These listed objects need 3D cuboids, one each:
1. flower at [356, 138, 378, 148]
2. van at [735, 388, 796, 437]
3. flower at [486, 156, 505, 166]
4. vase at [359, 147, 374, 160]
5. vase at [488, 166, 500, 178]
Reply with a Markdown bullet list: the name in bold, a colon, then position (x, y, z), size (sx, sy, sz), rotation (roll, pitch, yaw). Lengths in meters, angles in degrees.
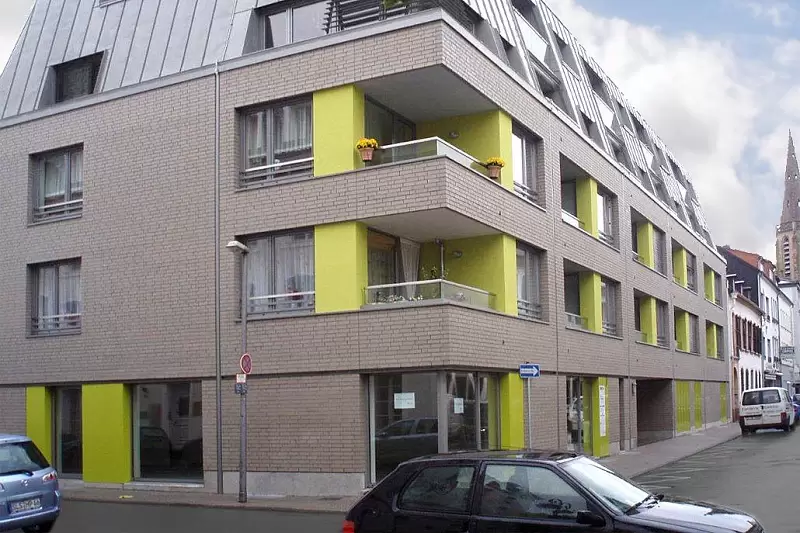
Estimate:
- **flower**: position (-0.900, -3.536, 25.920), size (0.389, 0.249, 0.409), rotation (0, -1, 33)
- **van**: position (17.938, 6.917, 43.758), size (1.725, 1.736, 3.095), rotation (-3, -3, 28)
- **flower**: position (2.942, -3.213, 27.455), size (0.335, 0.210, 0.359), rotation (4, -2, -4)
- **vase**: position (-0.957, -3.263, 25.968), size (0.325, 0.284, 0.349), rotation (2, -4, 1)
- **vase**: position (2.903, -2.898, 27.490), size (0.327, 0.270, 0.345), rotation (-6, -11, 22)
